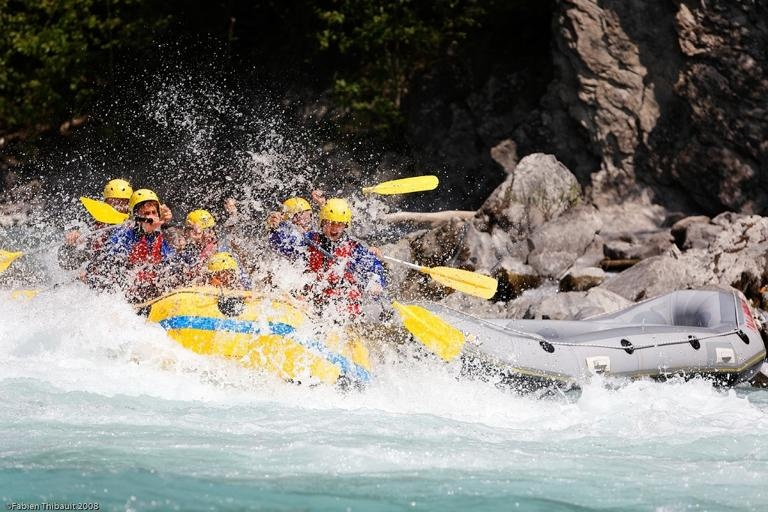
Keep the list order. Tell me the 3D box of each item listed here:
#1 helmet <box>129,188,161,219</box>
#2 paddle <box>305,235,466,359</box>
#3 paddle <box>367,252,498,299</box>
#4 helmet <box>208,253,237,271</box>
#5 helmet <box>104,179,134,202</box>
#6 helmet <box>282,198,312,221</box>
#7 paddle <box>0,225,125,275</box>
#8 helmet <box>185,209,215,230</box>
[{"bbox_3d":[-3.185,-0.719,13.051,0.386,0.307,0.267,2,0,-15],"label":"helmet"},{"bbox_3d":[0.027,0.462,12.693,2.438,0.333,0.111,35,-13,22],"label":"paddle"},{"bbox_3d":[0.743,0.270,14.528,1.732,0.339,0.087,20,-10,3],"label":"paddle"},{"bbox_3d":[-2.094,0.051,12.563,0.237,0.152,0.274,8,1,-11],"label":"helmet"},{"bbox_3d":[-3.702,-0.914,13.510,0.358,0.320,0.277,-12,3,12],"label":"helmet"},{"bbox_3d":[-1.154,-0.662,13.023,0.234,0.256,0.330,-27,-7,-46],"label":"helmet"},{"bbox_3d":[-4.462,-0.144,13.149,1.736,0.591,0.676,1,0,22],"label":"paddle"},{"bbox_3d":[-2.516,-0.502,13.308,0.338,0.165,0.239,1,4,32],"label":"helmet"}]
